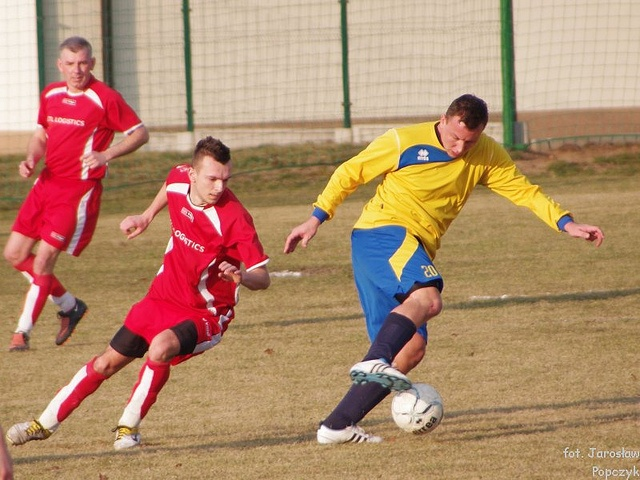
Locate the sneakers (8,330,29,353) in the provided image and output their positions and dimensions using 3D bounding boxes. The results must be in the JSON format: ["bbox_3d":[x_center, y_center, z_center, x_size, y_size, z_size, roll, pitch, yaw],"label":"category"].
[{"bbox_3d":[-3.076,1.044,13.090,0.131,0.103,0.245,1,5,1],"label":"sneakers"}]

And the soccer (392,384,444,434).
[{"bbox_3d":[0.959,1.516,11.758,0.489,0.457,0.444,3,47,14],"label":"soccer"}]

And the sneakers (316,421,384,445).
[{"bbox_3d":[0.252,1.765,11.790,0.649,0.232,0.208,0,1,-6],"label":"sneakers"}]

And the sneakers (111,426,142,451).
[{"bbox_3d":[-1.734,1.785,11.688,0.154,0.168,0.291,0,-3,33],"label":"sneakers"}]

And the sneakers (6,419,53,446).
[{"bbox_3d":[-2.636,1.706,11.690,0.488,0.167,0.199,-10,4,-23],"label":"sneakers"}]
